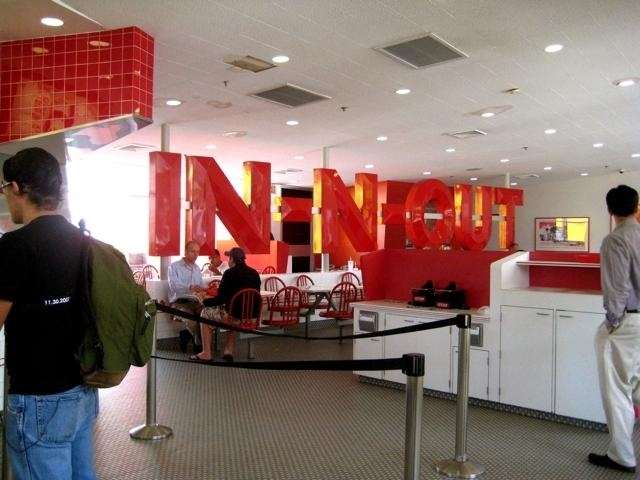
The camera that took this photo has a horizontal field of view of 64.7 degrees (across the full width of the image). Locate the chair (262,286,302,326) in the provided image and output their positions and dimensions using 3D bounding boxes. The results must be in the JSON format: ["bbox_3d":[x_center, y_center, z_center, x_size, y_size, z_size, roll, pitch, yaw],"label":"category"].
[{"bbox_3d":[-0.583,1.038,7.813,0.539,0.678,0.560,3,-1,7],"label":"chair"}]

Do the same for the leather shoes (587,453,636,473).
[{"bbox_3d":[2.210,1.672,3.851,0.296,0.124,0.110,3,1,35],"label":"leather shoes"}]

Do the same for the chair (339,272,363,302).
[{"bbox_3d":[0.667,0.849,10.163,0.402,0.643,0.454,-1,-6,3],"label":"chair"}]

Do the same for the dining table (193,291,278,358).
[{"bbox_3d":[-1.160,1.214,6.762,0.691,1.011,0.699,-8,8,35],"label":"dining table"}]

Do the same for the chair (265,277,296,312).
[{"bbox_3d":[-0.828,0.922,9.193,0.457,0.780,0.500,1,-4,-19],"label":"chair"}]

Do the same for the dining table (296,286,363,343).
[{"bbox_3d":[0.208,1.273,8.368,0.941,1.340,0.905,1,4,-2],"label":"dining table"}]

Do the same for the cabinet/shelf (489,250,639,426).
[{"bbox_3d":[2.380,0.883,4.931,0.565,1.611,1.127,6,-2,-43],"label":"cabinet/shelf"}]

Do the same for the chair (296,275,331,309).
[{"bbox_3d":[-0.234,0.927,9.087,0.538,0.782,0.513,0,0,36],"label":"chair"}]

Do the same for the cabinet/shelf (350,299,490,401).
[{"bbox_3d":[1.158,1.183,5.704,1.555,0.950,0.569,2,6,30],"label":"cabinet/shelf"}]

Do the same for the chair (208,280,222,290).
[{"bbox_3d":[-1.695,0.699,8.085,0.236,0.155,0.324,3,-1,-9],"label":"chair"}]

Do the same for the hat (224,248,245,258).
[{"bbox_3d":[-1.188,0.216,7.077,0.183,0.147,0.271,-5,10,-40],"label":"hat"}]

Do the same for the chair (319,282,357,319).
[{"bbox_3d":[0.359,1.118,8.228,0.584,0.816,0.607,-3,-11,30],"label":"chair"}]
